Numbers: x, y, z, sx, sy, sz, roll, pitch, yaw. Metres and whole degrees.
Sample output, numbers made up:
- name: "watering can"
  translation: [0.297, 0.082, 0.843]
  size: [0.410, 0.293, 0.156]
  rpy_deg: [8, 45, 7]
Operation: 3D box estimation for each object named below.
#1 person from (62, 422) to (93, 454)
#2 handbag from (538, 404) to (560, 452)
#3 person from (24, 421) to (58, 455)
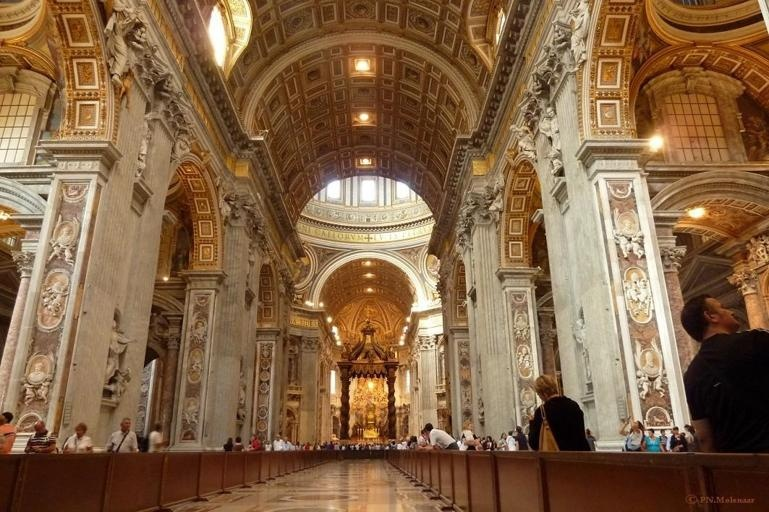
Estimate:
- name: "person"
  translation: [-5.123, 3.042, 7.956]
  size: [0.387, 0.463, 0.741]
  rpy_deg: [16, -31, -34]
- name: "handbag"
  translation: [1.739, 1.851, 5.123]
  size: [0.224, 0.457, 0.116]
  rpy_deg: [-17, -29, 29]
- name: "person"
  translation: [-5.431, 2.874, 7.568]
  size: [0.428, 0.522, 1.108]
  rpy_deg: [15, -30, -32]
